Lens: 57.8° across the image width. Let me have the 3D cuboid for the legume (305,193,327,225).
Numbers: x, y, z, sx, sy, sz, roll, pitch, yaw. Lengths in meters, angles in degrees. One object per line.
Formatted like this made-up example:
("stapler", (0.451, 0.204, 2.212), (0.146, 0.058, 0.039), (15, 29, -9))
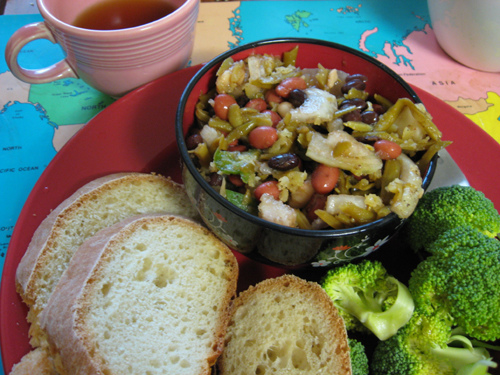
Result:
("legume", (0.347, 0.116, 2.423), (0.047, 0.130, 0.139), (11, 79, -6))

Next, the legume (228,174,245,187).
("legume", (-0.078, -0.041, 2.492), (0.043, 0.064, 0.068), (-41, 47, 16))

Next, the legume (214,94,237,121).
("legume", (-0.145, -0.449, 2.653), (0.104, 0.114, 0.149), (-10, 82, -4))

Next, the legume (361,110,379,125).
("legume", (0.671, -0.396, 2.592), (0.061, 0.047, 0.083), (-10, 40, -4))

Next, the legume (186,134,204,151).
("legume", (-0.320, -0.255, 2.564), (0.079, 0.035, 0.099), (6, 78, 2))

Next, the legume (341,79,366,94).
("legume", (0.605, -0.601, 2.658), (0.104, 0.063, 0.083), (-8, 32, 7))

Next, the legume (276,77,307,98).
("legume", (0.233, -0.594, 2.689), (0.137, 0.077, 0.109), (-26, 70, -3))

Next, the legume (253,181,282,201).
("legume", (0.091, 0.010, 2.396), (0.117, 0.068, 0.095), (-35, 75, 27))

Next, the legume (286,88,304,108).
("legume", (0.255, -0.509, 2.573), (0.075, 0.079, 0.109), (6, 86, -4))

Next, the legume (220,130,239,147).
("legume", (-0.127, -0.270, 2.580), (0.077, 0.034, 0.103), (34, 42, -25))

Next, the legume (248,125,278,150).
("legume", (0.066, -0.270, 2.521), (0.136, 0.107, 0.112), (-16, 91, -1))

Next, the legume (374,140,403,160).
("legume", (0.728, -0.201, 2.408), (0.124, 0.079, 0.085), (26, 64, 7))

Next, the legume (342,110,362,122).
("legume", (0.573, -0.401, 2.540), (0.062, 0.044, 0.077), (25, 47, 29))

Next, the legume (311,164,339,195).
("legume", (0.390, -0.044, 2.441), (0.112, 0.117, 0.157), (22, 79, 9))

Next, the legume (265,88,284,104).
("legume", (0.131, -0.535, 2.673), (0.073, 0.051, 0.094), (-16, 80, 6))

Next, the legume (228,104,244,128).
("legume", (-0.087, -0.405, 2.569), (0.089, 0.043, 0.123), (-17, 96, -32))
